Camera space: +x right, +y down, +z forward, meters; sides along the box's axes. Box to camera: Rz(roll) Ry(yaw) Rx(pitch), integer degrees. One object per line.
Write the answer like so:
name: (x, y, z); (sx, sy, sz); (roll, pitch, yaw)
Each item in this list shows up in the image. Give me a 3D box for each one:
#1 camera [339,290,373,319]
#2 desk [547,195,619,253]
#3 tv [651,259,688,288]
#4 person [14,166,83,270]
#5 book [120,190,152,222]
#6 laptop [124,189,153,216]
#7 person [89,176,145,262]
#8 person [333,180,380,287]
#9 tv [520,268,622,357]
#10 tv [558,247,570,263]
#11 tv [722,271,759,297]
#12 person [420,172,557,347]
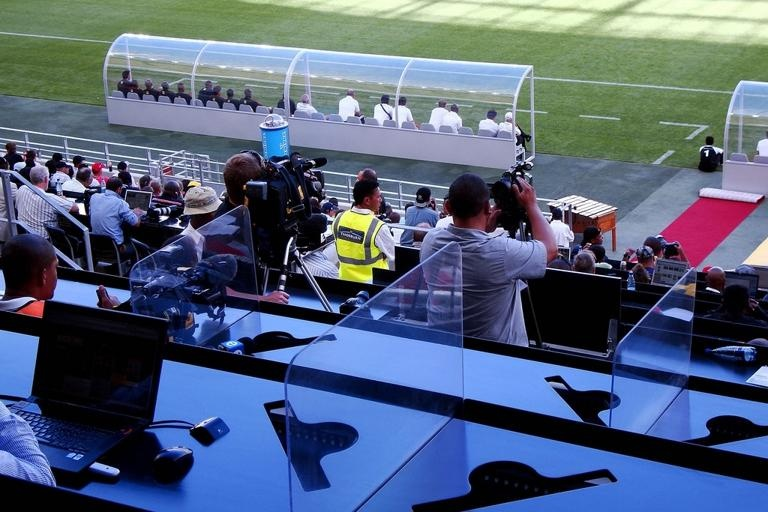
camera: (-0.187, 0.340, 5.667); (0.094, 0.106, 0.287); (-30, 1, 33)
desk: (4.038, -0.786, 16.427); (1.220, 1.105, 1.610); (11, 21, 35)
tv: (3.511, 0.230, 10.304); (0.315, 0.273, 0.248); (9, 5, 9)
person: (-4.871, -0.559, 12.405); (0.835, 1.663, 1.006); (16, 29, 14)
book: (-3.714, -0.719, 12.559); (0.446, 0.308, 0.337); (17, 17, -5)
laptop: (-3.747, -0.780, 12.760); (0.421, 0.336, 0.281); (11, 7, -2)
person: (-3.939, -0.366, 12.412); (0.755, 1.552, 0.887); (7, 26, 5)
person: (-0.256, -0.197, 8.429); (0.617, 1.102, 0.539); (10, 23, 16)
tv: (1.441, 0.325, 6.257); (0.806, 0.683, 0.613); (8, 21, 27)
tv: (2.243, 0.000, 10.457); (0.053, 0.188, 0.210); (7, -6, -31)
tv: (4.173, 0.347, 9.797); (0.263, 0.188, 0.329); (0, 8, -31)
person: (0.703, 0.058, 6.161); (0.831, 1.335, 1.359); (2, -2, -12)
